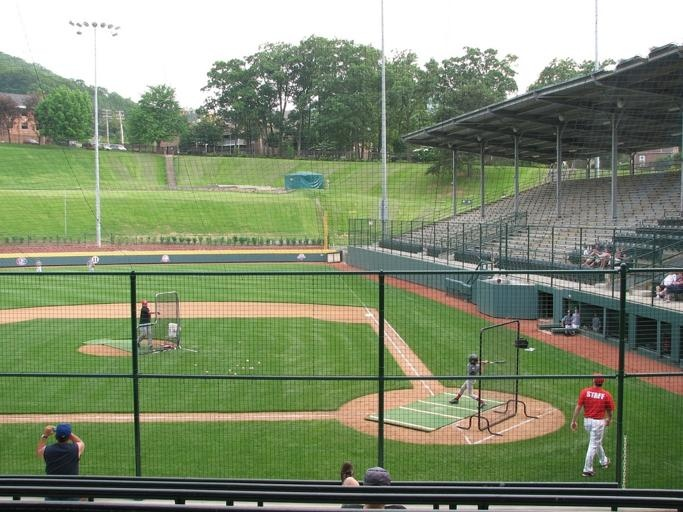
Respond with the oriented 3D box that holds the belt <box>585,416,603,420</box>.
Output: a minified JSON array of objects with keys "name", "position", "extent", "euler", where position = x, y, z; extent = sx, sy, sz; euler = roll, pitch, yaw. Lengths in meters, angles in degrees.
[{"name":"belt","position":[10.304,6.581,47.252],"extent":[0.744,0.141,0.079],"euler":[0,6,9]}]
